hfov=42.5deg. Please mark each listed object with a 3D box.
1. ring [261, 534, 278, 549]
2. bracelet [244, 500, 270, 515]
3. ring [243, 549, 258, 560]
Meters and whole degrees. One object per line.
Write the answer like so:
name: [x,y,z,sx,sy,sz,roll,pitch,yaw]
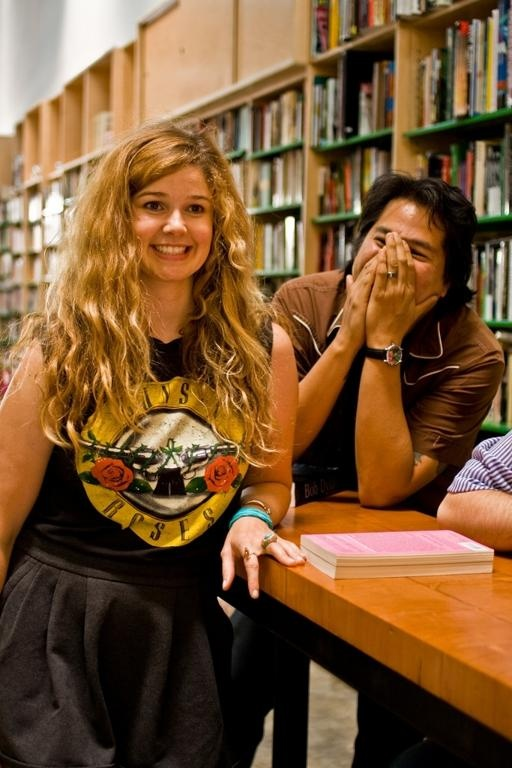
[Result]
ring: [0.018,0.224,0.947,0.021,0.020,0.016,6,12,1]
bracelet: [0.005,0.202,1.104,0.028,0.010,0.025,29,1,38]
ring: [-0.011,0.242,0.941,0.013,0.007,0.017,-32,22,20]
